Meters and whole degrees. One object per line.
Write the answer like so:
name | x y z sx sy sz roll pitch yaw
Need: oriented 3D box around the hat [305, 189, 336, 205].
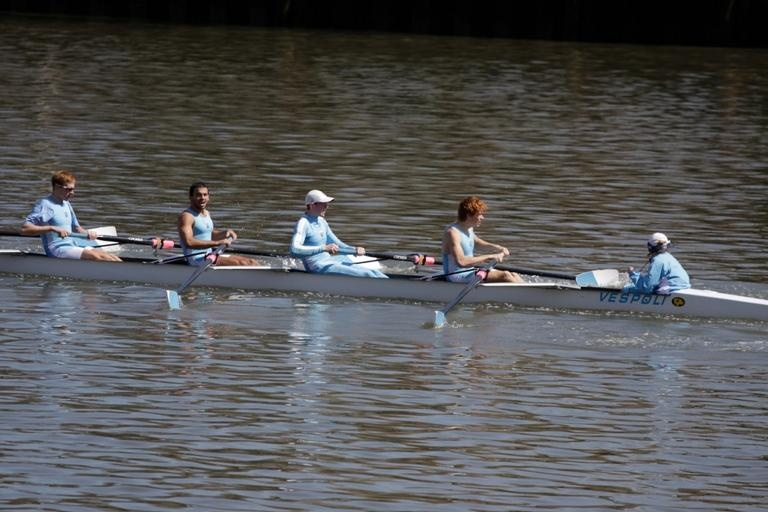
hat | -1.361 -1.064 25.943 0.773 0.185 0.364 -1 8 9

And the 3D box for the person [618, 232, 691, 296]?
person | 4.783 0.121 24.838 1.131 1.089 0.605 3 20 5

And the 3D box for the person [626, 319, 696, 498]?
person | 4.269 2.241 21.986 1.263 0.365 3.199 3 20 10
